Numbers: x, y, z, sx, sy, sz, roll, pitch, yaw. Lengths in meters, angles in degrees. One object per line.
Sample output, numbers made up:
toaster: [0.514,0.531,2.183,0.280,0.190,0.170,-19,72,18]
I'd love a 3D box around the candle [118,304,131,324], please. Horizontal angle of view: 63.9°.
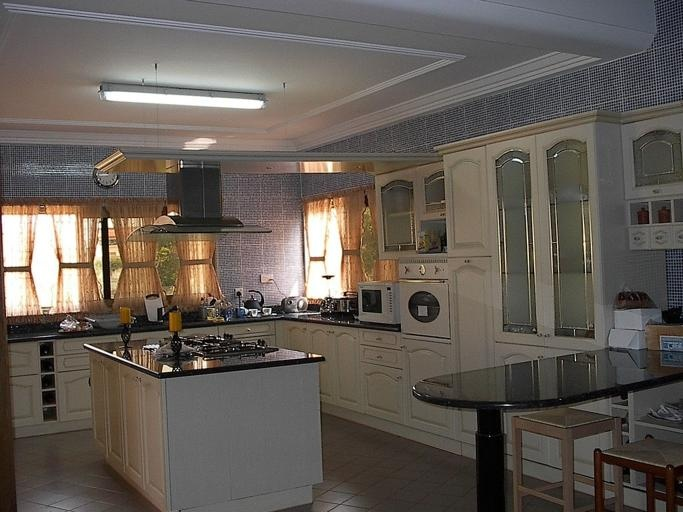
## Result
candle: [-1.990,0.552,5.029,0.069,0.173,0.244,-4,1,-27]

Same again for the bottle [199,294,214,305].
bottle: [-1.827,0.579,7.416,0.139,0.161,0.172,6,10,-13]

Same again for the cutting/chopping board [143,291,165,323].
cutting/chopping board: [-2.408,0.651,7.030,0.235,0.378,0.253,-3,1,-20]

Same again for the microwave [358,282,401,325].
microwave: [0.523,0.505,5.987,0.386,0.458,0.688,-2,-1,-32]

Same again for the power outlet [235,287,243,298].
power outlet: [-1.420,0.507,7.668,0.151,0.125,0.035,-2,-5,41]

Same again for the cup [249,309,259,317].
cup: [-1.176,0.754,7.378,0.124,0.094,0.204,-3,0,-8]

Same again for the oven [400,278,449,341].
oven: [0.782,0.535,5.460,0.643,0.498,0.481,0,-7,-9]

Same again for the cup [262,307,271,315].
cup: [-1.058,0.775,7.770,0.078,0.074,0.106,-1,-1,5]

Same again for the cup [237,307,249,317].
cup: [-1.310,0.744,7.252,0.112,0.136,0.169,-3,0,33]

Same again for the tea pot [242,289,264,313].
tea pot: [-1.217,0.617,7.683,0.324,0.283,0.226,3,-8,-22]

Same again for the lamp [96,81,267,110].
lamp: [-1.540,-1.574,5.420,1.572,0.123,0.347,-3,0,-20]

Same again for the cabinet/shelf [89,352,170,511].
cabinet/shelf: [-1.643,1.380,4.280,0.488,0.715,1.290,2,-1,-31]

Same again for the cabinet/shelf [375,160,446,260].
cabinet/shelf: [0.949,-0.443,5.872,1.198,0.952,0.418,-4,-2,43]

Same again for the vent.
vent: [-1.282,-0.441,4.978,1.094,0.501,0.729,0,-3,-32]

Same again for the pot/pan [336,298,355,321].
pot/pan: [0.065,0.648,6.861,0.244,0.396,0.233,0,-2,-24]
